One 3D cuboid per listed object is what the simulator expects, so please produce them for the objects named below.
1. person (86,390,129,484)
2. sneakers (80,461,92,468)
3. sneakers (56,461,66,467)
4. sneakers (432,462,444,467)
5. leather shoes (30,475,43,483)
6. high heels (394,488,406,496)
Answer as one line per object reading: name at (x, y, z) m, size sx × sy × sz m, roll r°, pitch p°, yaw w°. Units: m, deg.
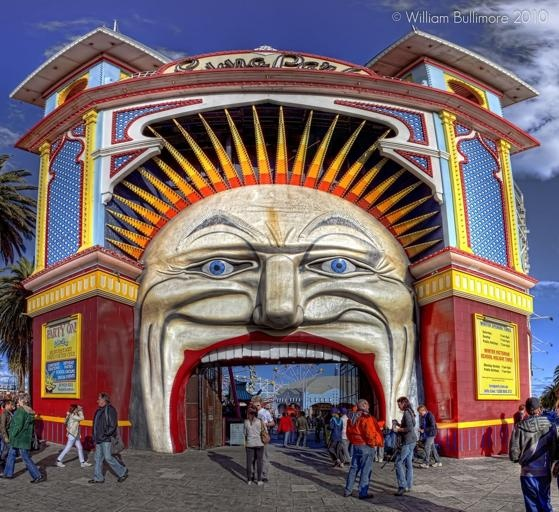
person at (-3.507, 4.064, 12.505) m, size 0.628 × 2.189 × 0.827 m, roll -7°, pitch 7°, yaw -17°
sneakers at (-4.679, 5.402, 14.991) m, size 0.280 × 0.113 × 0.095 m, roll 1°, pitch -3°, yaw -9°
sneakers at (-5.288, 5.356, 14.907) m, size 0.277 × 0.114 × 0.106 m, roll 12°, pitch -8°, yaw 13°
sneakers at (4.327, 6.020, 16.664) m, size 0.107 × 0.124 × 0.310 m, roll 14°, pitch -14°, yaw -42°
leather shoes at (-4.958, 4.925, 12.736) m, size 0.126 × 0.136 × 0.345 m, roll -11°, pitch -23°, yaw 25°
high heels at (2.354, 4.983, 12.182) m, size 0.326 × 0.130 × 0.120 m, roll -14°, pitch -21°, yaw 30°
